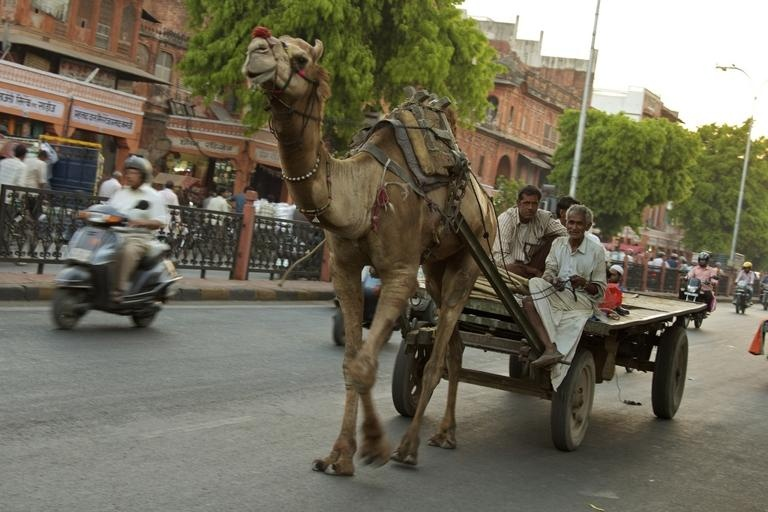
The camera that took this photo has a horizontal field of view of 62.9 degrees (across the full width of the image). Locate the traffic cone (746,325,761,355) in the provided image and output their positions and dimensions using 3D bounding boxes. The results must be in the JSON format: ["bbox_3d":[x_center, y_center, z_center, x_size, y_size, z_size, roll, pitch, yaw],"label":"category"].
[{"bbox_3d":[7.029,1.591,11.798,0.203,0.534,0.566,9,5,31],"label":"traffic cone"}]

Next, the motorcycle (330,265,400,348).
[{"bbox_3d":[-0.493,0.792,9.370,0.736,1.152,1.549,3,6,14],"label":"motorcycle"}]

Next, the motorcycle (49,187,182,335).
[{"bbox_3d":[-4.133,0.148,9.734,0.989,1.796,2.669,8,0,12],"label":"motorcycle"}]
